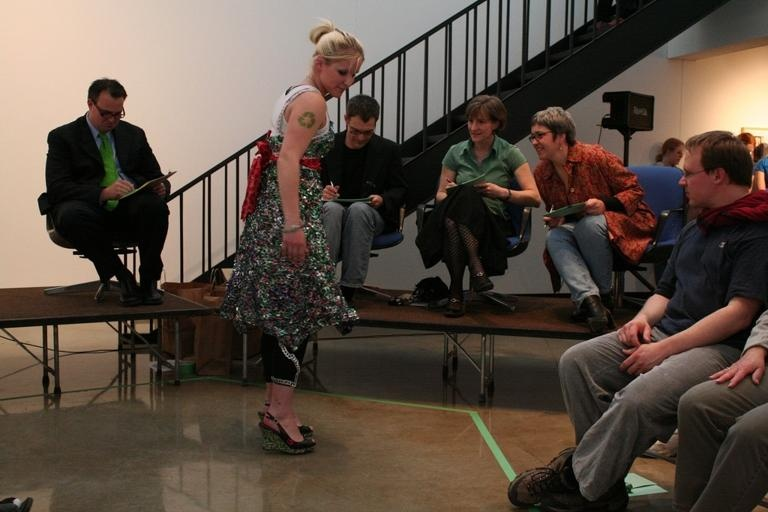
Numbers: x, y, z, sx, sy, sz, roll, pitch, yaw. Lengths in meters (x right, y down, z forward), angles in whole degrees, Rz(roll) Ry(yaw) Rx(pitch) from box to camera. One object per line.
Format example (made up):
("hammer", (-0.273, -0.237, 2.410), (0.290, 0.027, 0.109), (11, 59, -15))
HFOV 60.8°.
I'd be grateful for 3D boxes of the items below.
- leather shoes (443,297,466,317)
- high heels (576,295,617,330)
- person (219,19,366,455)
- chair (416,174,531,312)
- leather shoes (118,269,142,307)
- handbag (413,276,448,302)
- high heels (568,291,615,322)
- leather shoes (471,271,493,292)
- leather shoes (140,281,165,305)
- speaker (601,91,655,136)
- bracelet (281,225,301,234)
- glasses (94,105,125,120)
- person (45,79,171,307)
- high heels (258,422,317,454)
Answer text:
("leather shoes", (0.431, 0.315, 3.991), (0.094, 0.112, 0.239), (0, -5, 7))
("high heels", (1.261, 0.319, 3.872), (0.150, 0.201, 0.456), (-5, 4, 4))
("person", (-0.427, -0.061, 3.056), (0.637, 2.026, 0.317), (-1, 8, -15))
("chair", (0.641, -0.077, 4.356), (0.627, 0.969, 0.852), (4, -2, 23))
("leather shoes", (-1.512, 0.190, 3.920), (0.111, 0.209, 0.104), (-5, 10, -40))
("handbag", (0.324, 0.232, 4.481), (0.197, 0.097, 0.248), (3, 2, 7))
("high heels", (1.301, 0.311, 4.086), (0.174, 0.210, 0.487), (-2, 5, 22))
("leather shoes", (0.586, 0.156, 3.932), (0.069, 0.081, 0.186), (-11, -3, -10))
("leather shoes", (-1.419, 0.214, 4.029), (0.130, 0.133, 0.216), (-1, 8, -17))
("speaker", (2.209, -1.360, 5.955), (0.337, 0.429, 0.599), (4, 6, 40))
("bracelet", (-0.412, -0.124, 2.946), (0.094, 0.040, 0.053), (1, 8, -1))
("glasses", (-1.656, -0.873, 3.956), (0.118, 0.038, 0.121), (-9, 48, -42))
("person", (-1.717, -0.412, 4.041), (0.761, 1.356, 0.670), (-1, 8, -14))
("high heels", (-0.493, 0.886, 3.193), (0.309, 0.127, 0.115), (2, 2, 10))
